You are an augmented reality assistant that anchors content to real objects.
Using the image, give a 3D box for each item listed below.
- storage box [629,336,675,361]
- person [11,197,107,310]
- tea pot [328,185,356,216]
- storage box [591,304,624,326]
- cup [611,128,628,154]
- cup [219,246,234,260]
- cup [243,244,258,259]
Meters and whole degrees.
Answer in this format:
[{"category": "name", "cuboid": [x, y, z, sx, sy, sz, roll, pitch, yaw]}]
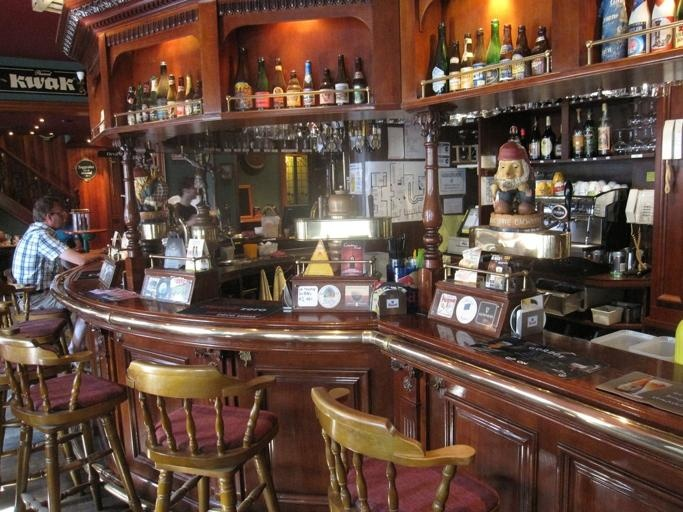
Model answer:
[{"category": "storage box", "cuboid": [1.530, 0.452, 2.784, 0.191, 0.076, 0.157, 4, 13, 27]}, {"category": "person", "cuboid": [-2.827, -0.037, 5.495, 0.779, 1.052, 0.478, -8, 13, -24]}, {"category": "tea pot", "cuboid": [-0.004, -0.357, 3.659, 0.168, 0.167, 0.171, 2, 9, 0]}, {"category": "storage box", "cuboid": [2.191, 0.493, 4.661, 0.234, 0.136, 0.183, -13, 16, -42]}, {"category": "cup", "cuboid": [2.362, -0.974, 4.780, 0.133, 0.211, 0.315, 3, 13, 25]}, {"category": "cup", "cuboid": [-0.924, -0.016, 4.535, 0.072, 0.083, 0.117, 1, 2, 22]}, {"category": "cup", "cuboid": [-0.930, -0.046, 5.775, 0.142, 0.146, 0.141, 0, 5, 0]}]
